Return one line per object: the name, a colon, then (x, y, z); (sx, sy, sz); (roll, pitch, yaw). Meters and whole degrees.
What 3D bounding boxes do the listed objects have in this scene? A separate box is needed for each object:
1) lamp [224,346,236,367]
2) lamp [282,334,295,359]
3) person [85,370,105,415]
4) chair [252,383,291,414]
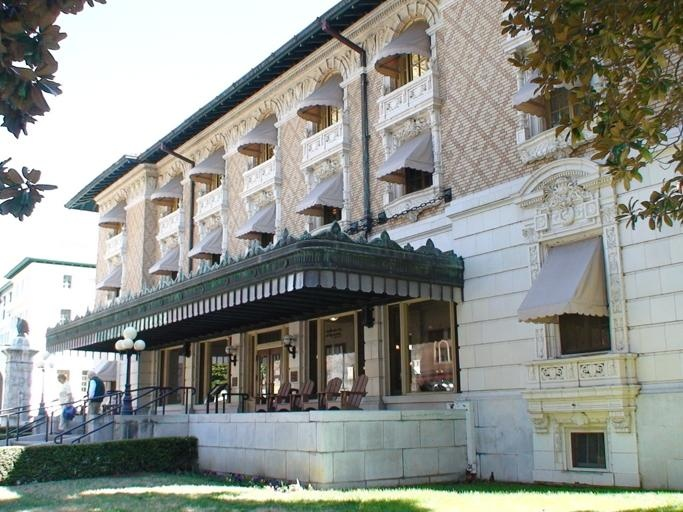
lamp: (-3.987, 3.579, 29.063); (0.342, 0.716, 0.647); (3, -17, -19)
lamp: (-1.694, 2.913, 26.035); (0.367, 0.743, 0.522); (5, -17, -24)
person: (-7.723, 4.344, 25.389); (0.518, 1.446, 1.702); (3, -17, -17)
chair: (-1.953, 4.071, 23.085); (1.015, 1.005, 0.795); (-1, -12, 4)
